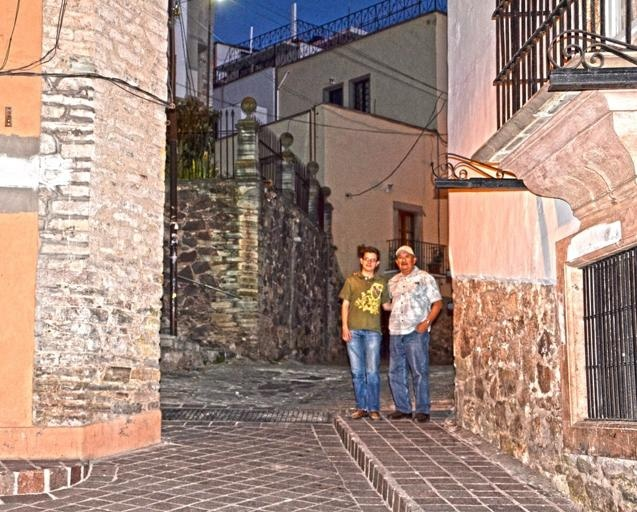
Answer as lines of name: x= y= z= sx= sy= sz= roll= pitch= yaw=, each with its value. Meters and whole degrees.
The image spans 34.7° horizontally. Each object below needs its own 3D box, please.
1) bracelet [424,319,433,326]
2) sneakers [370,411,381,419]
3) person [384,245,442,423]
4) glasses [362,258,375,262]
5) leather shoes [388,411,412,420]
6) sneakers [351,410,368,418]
bracelet: x=1.141 y=0.668 z=10.523 sx=0.082 sy=0.098 sz=0.067 roll=0 pitch=-15 yaw=-1
sneakers: x=0.581 y=1.645 z=10.519 sx=0.112 sy=0.079 sz=0.240 roll=-2 pitch=1 yaw=-1
person: x=0.975 y=0.814 z=10.728 sx=0.544 sy=1.845 sz=0.685 roll=-2 pitch=1 yaw=-16
glasses: x=0.526 y=0.034 z=10.722 sx=0.133 sy=0.049 sz=0.060 roll=-2 pitch=1 yaw=6
leather shoes: x=0.853 y=1.678 z=10.701 sx=0.247 sy=0.127 sz=0.097 roll=10 pitch=-8 yaw=-21
sneakers: x=0.438 y=1.656 z=10.666 sx=0.228 sy=0.072 sz=0.108 roll=-2 pitch=2 yaw=-30
